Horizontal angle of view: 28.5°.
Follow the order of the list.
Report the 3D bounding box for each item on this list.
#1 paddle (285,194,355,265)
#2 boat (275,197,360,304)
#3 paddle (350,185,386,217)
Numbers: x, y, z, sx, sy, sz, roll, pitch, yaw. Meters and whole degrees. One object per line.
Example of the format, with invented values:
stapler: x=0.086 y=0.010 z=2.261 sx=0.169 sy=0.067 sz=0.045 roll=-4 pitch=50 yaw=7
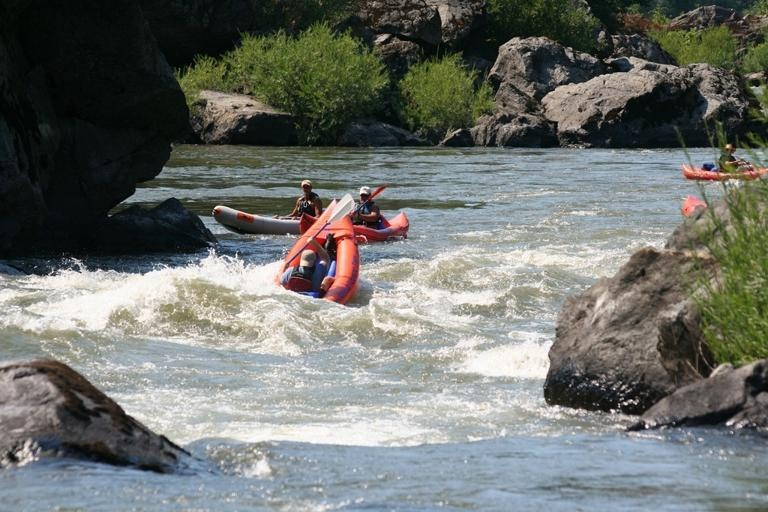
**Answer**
paddle: x=-1.651 y=-0.660 z=39.722 sx=3.195 sy=0.471 sz=0.383 roll=-41 pitch=-3 yaw=-43
boat: x=-1.357 y=0.070 z=38.185 sx=1.234 sy=0.761 sz=3.433 roll=6 pitch=30 yaw=7
paddle: x=-0.454 y=-1.560 z=43.688 sx=0.346 sy=1.499 sz=0.266 roll=41 pitch=14 yaw=0
